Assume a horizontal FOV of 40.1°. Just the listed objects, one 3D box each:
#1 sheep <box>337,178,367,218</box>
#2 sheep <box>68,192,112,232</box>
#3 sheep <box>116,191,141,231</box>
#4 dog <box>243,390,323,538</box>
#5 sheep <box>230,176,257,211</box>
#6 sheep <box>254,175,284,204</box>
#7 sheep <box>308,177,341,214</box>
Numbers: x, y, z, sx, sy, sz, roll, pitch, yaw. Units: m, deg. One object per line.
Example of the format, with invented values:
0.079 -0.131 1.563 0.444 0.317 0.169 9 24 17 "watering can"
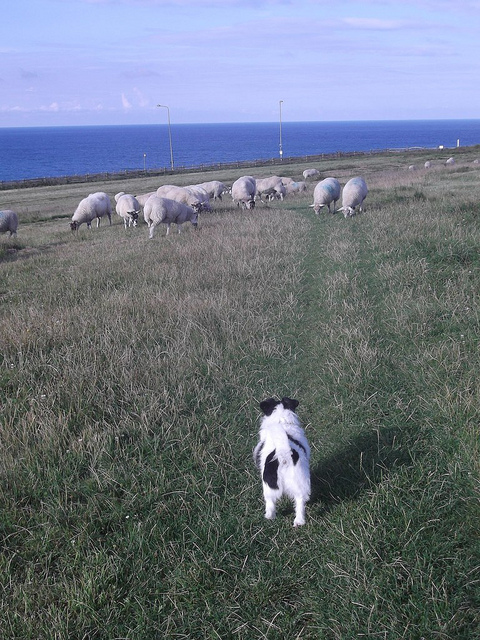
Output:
3.523 -3.806 20.453 0.526 0.970 1.949 4 57 18 "sheep"
-5.325 -3.855 23.206 0.579 0.942 2.820 -3 16 11 "sheep"
-4.063 -3.970 24.051 0.770 1.167 2.238 -8 15 -11 "sheep"
0.303 0.886 4.998 0.350 0.716 1.203 -2 25 1 "dog"
0.144 -5.599 28.490 0.689 1.391 2.525 6 35 0 "sheep"
1.243 -6.603 33.747 1.590 1.286 2.348 3 18 34 "sheep"
2.967 -4.254 22.606 0.814 1.242 2.130 -3 16 11 "sheep"
